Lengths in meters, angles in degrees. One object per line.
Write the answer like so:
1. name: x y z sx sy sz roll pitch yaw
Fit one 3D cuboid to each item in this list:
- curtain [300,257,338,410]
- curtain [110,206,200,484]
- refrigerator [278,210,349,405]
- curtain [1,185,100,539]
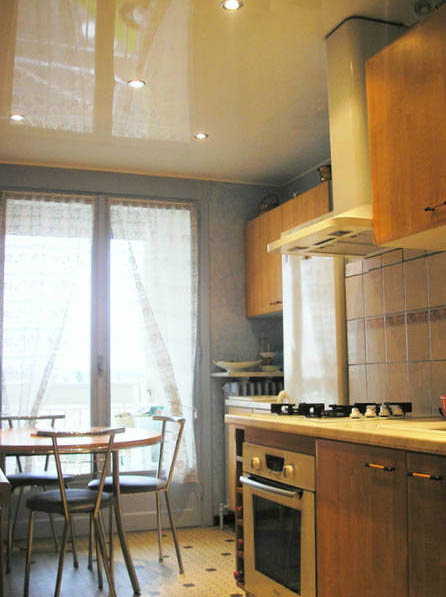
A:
1. curtain: 0.501 0.179 2.812 0.198 0.905 0.047 2 27 14
2. curtain: -0.495 0.339 4.100 0.640 2.130 0.349 0 -2 -6
3. refrigerator: 0.475 0.154 2.862 0.187 0.840 0.637 0 -2 -21
4. curtain: -1.267 -0.001 3.952 0.674 1.644 0.212 0 -2 -27
